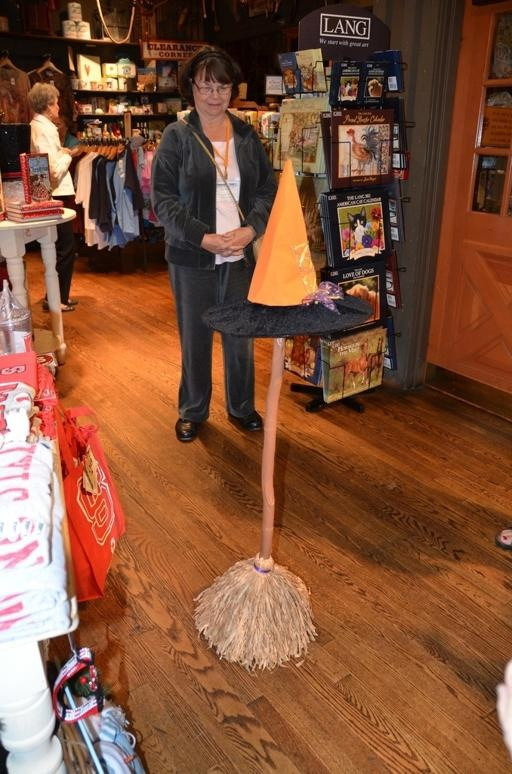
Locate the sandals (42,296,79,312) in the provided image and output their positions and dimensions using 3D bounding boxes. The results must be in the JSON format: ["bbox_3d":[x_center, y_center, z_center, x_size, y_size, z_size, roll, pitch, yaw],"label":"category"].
[{"bbox_3d":[-1.839,-0.762,4.833,0.286,0.116,0.177,2,28,5],"label":"sandals"}]

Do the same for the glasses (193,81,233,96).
[{"bbox_3d":[-0.182,-1.212,2.082,0.160,0.049,0.097,1,23,9],"label":"glasses"}]

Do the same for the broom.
[{"bbox_3d":[-0.019,0.326,1.398,0.369,0.909,0.300,-6,22,-7],"label":"broom"}]

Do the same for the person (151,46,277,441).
[{"bbox_3d":[-0.171,-0.588,2.411,0.509,1.731,0.527,-5,22,-13],"label":"person"}]
